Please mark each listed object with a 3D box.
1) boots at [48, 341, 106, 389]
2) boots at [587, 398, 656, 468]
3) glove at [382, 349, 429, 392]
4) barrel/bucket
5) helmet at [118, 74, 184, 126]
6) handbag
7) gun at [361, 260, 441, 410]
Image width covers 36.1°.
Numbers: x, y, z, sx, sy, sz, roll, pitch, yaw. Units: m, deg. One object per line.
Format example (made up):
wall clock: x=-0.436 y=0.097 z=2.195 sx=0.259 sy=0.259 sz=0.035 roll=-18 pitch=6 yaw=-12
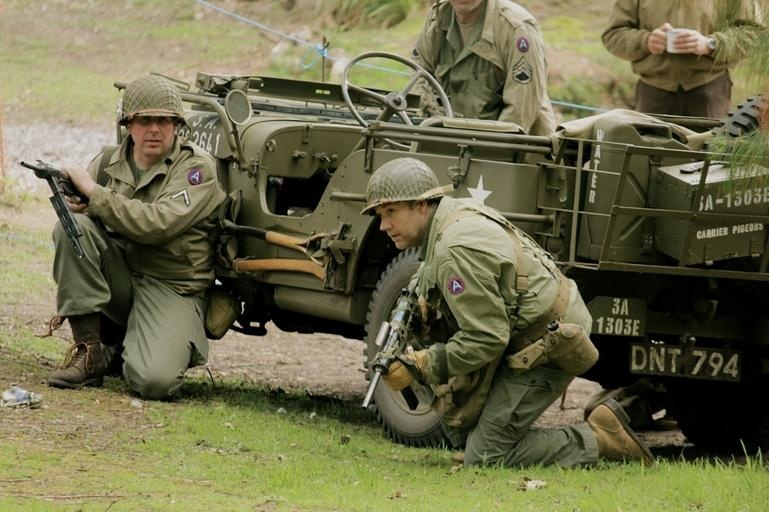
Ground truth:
boots: x=-2.287 y=0.809 z=8.815 sx=0.264 sy=0.335 sz=0.432 roll=3 pitch=7 yaw=13
boots: x=1.652 y=1.237 z=8.293 sx=0.390 sy=0.329 sz=0.223 roll=54 pitch=18 yaw=14
glove: x=0.141 y=0.732 z=7.758 sx=0.276 sy=0.265 sz=0.193 roll=2 pitch=6 yaw=-1
barrel/bucket: x=1.706 y=-0.415 z=8.115 sx=0.707 sy=1.106 sz=0.366 roll=12 pitch=2 yaw=-12
helmet: x=-1.732 y=-1.227 z=9.170 sx=0.499 sy=0.363 sz=0.524 roll=1 pitch=5 yaw=1
handbag: x=0.497 y=0.874 z=8.114 sx=0.325 sy=0.608 sz=0.411 roll=8 pitch=-2 yaw=-20
gun: x=0.136 y=0.553 z=8.112 sx=0.226 sy=1.005 sz=0.442 roll=26 pitch=-12 yaw=-4
